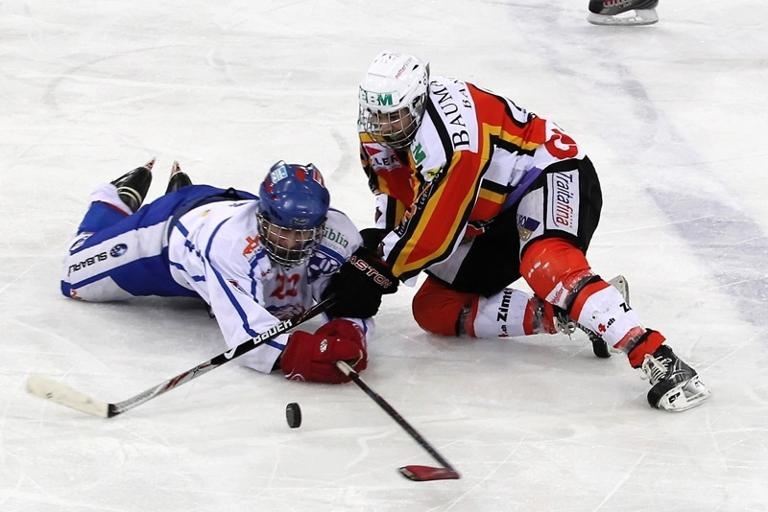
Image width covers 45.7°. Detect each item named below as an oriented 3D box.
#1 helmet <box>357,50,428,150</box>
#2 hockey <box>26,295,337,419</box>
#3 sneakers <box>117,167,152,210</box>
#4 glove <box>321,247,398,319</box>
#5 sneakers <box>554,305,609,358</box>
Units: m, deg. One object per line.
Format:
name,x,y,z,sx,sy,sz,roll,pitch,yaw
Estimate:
helmet,0.020,-1.013,5.887,0.521,0.470,0.535,-1,37,6
hockey,-1.241,0.664,5.439,1.720,0.346,0.429,-8,44,-13
sneakers,-1.905,-0.503,6.993,0.198,0.157,0.442,30,25,-2
glove,-0.208,0.157,5.915,0.511,0.420,0.185,-45,26,5
sneakers,1.265,0.503,5.879,0.403,0.123,0.272,33,59,19
